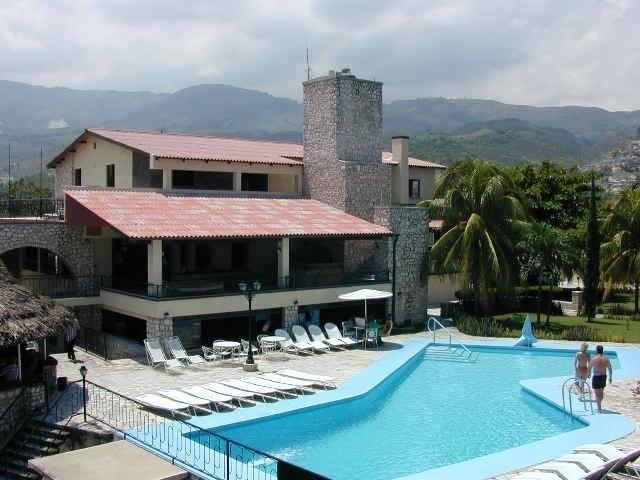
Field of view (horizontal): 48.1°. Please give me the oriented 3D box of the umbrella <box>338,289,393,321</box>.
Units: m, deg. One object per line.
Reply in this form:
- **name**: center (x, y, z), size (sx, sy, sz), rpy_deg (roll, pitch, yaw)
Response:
- **umbrella**: center (2.282, 3.224, 35.572), size (2.401, 1.618, 5.195), rpy_deg (-1, -3, 5)

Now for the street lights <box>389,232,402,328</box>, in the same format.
- **street lights**: center (3.930, 2.104, 38.199), size (0.530, 4.843, 0.865), rpy_deg (-1, -2, 9)
